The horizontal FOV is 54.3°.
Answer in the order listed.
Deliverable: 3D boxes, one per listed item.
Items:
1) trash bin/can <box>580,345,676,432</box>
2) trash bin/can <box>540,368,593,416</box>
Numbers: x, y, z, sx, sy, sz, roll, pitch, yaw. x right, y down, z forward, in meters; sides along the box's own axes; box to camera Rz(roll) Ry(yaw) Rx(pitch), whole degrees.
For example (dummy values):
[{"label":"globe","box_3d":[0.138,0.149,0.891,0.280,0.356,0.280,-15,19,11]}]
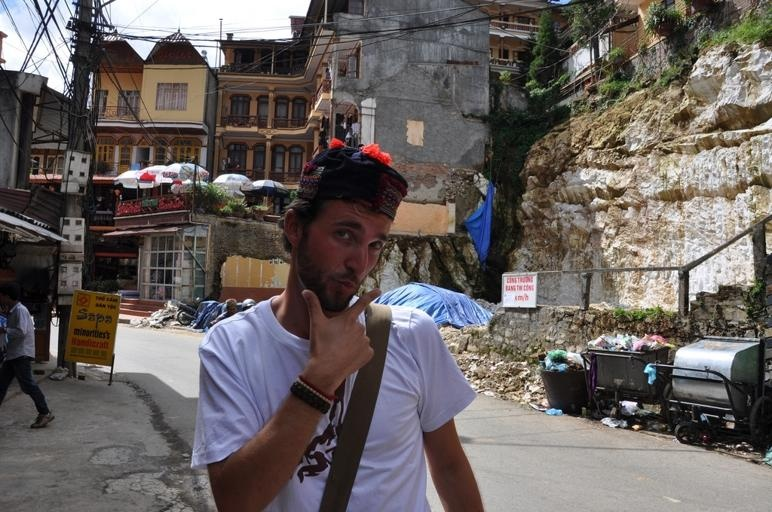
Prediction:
[{"label":"trash bin/can","box_3d":[6.401,3.334,19.289,1.725,1.811,2.154,9,-13,-40]},{"label":"trash bin/can","box_3d":[4.811,3.630,20.006,1.184,0.922,1.135,-5,-5,27]}]
